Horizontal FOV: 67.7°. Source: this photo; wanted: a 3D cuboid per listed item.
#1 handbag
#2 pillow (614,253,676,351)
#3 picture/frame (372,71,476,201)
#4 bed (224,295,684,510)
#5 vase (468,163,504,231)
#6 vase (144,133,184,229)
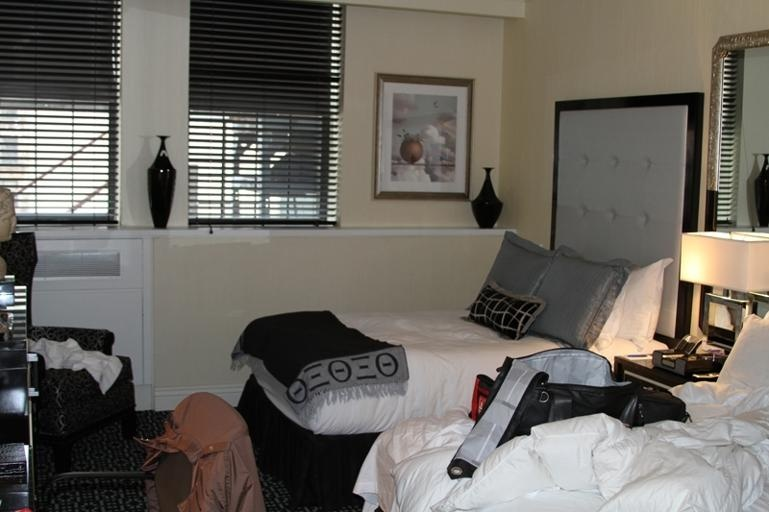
[{"bbox_3d":[0.696,0.675,2.639,0.675,0.269,0.527,-9,0,-2],"label":"handbag"},{"bbox_3d":[1.783,0.311,3.978,0.155,0.545,0.513,13,-11,-25],"label":"pillow"},{"bbox_3d":[0.326,-1.163,5.425,1.143,1.382,0.059,1,3,-20],"label":"picture/frame"},{"bbox_3d":[-0.010,0.753,3.775,1.511,0.640,1.270,0,6,-21],"label":"bed"},{"bbox_3d":[0.965,-0.550,5.452,0.241,0.560,0.217,-5,13,-33],"label":"vase"},{"bbox_3d":[-1.872,-0.623,4.830,0.239,0.765,0.318,-2,12,-22],"label":"vase"}]
